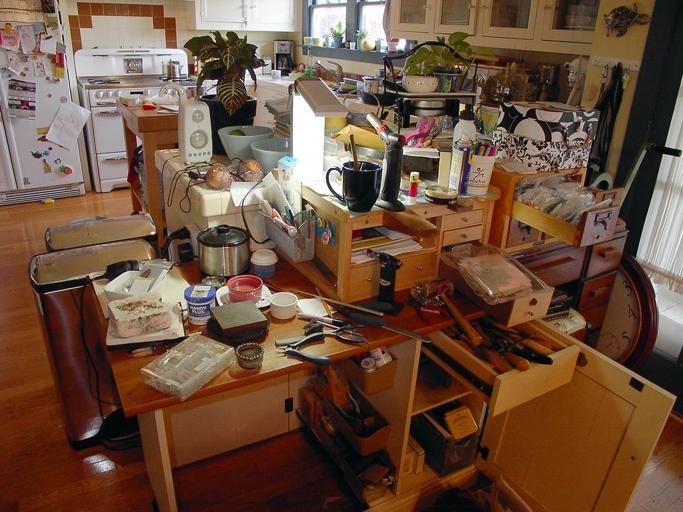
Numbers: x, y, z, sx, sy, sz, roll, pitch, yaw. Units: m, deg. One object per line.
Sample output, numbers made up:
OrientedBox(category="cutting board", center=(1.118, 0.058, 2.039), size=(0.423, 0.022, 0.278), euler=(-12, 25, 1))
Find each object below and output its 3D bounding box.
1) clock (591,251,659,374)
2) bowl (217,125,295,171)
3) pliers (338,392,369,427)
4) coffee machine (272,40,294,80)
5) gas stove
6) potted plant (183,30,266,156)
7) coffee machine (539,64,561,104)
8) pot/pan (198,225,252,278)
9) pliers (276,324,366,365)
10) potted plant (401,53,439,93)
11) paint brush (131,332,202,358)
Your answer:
OrientedBox(category="clock", center=(1.595, 0.311, 2.776), size=(0.297, 0.603, 0.292), euler=(5, 25, 11))
OrientedBox(category="bowl", center=(-0.434, -0.546, 2.577), size=(0.417, 0.155, 0.296), euler=(-12, 28, -27))
OrientedBox(category="pliers", center=(0.050, 0.736, 2.427), size=(0.098, 0.059, 0.150), euler=(-9, 27, -5))
OrientedBox(category="coffee machine", center=(-0.731, -2.403, 6.189), size=(0.234, 0.387, 0.238), euler=(-2, 12, -11))
OrientedBox(category="gas stove", center=(-1.876, -1.476, 4.557), size=(1.054, 0.346, 0.565), euler=(-11, 24, -30))
OrientedBox(category="potted plant", center=(-0.645, -0.917, 2.861), size=(0.476, 0.596, 0.389), euler=(-2, 23, -24))
OrientedBox(category="coffee machine", center=(1.436, -1.189, 3.489), size=(0.166, 0.239, 0.118), euler=(0, 23, 4))
OrientedBox(category="pot/pan", center=(-0.539, -0.032, 2.291), size=(0.230, 0.201, 0.226), euler=(4, 23, 2))
OrientedBox(category="pliers", center=(-0.076, 0.324, 1.929), size=(0.301, 0.071, 0.190), euler=(-18, 27, -36))
OrientedBox(category="potted plant", center=(0.359, -0.894, 2.527), size=(0.140, 0.130, 0.137), euler=(2, 31, 22))
OrientedBox(category="paint brush", center=(-0.683, 0.334, 1.861), size=(0.198, 0.039, 0.034), euler=(-8, 23, -16))
